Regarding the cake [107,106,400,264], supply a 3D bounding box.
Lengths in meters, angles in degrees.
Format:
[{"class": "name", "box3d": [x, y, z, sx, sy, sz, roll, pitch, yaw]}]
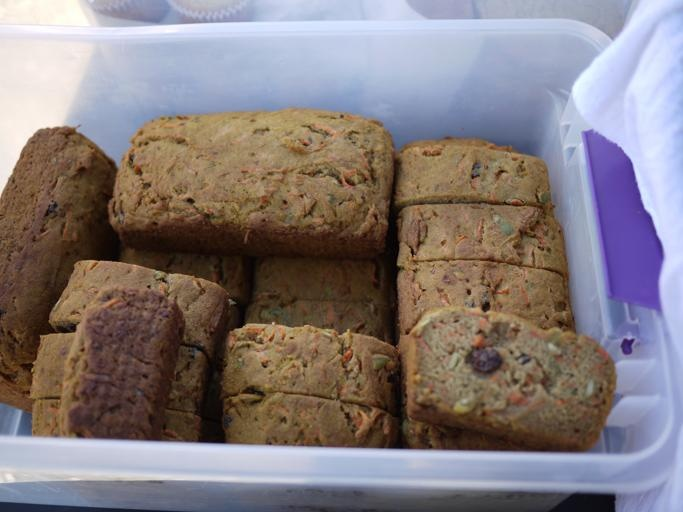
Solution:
[{"class": "cake", "box3d": [-0.325, -0.254, 2.599, 0.828, 0.323, 0.609, 0, 72, 7]}]

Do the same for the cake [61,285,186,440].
[{"class": "cake", "box3d": [-0.688, 0.352, 2.126, 0.301, 0.289, 0.428, 7, 49, 5]}]

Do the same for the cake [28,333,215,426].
[{"class": "cake", "box3d": [-0.619, 0.391, 2.145, 0.341, 0.125, 0.381, 0, 81, 2]}]
